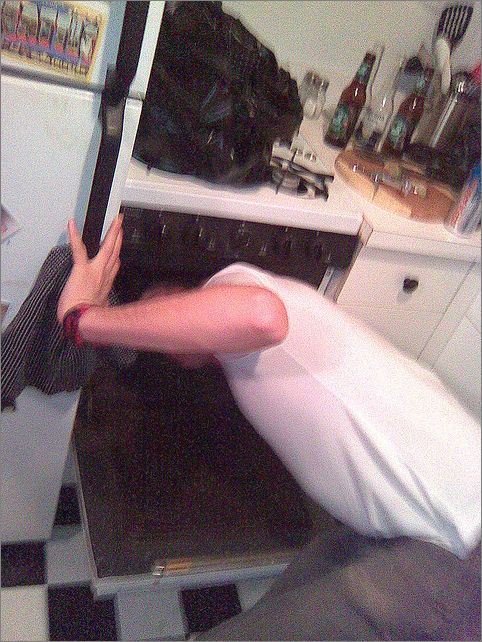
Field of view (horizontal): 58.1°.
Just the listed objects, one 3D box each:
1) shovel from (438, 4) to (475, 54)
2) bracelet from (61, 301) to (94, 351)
[{"bbox_3d":[0.724,-0.964,1.418,0.115,0.133,0.042,13,29,-12],"label":"shovel"},{"bbox_3d":[-0.258,0.004,0.634,0.043,0.063,0.023,7,42,-29],"label":"bracelet"}]
